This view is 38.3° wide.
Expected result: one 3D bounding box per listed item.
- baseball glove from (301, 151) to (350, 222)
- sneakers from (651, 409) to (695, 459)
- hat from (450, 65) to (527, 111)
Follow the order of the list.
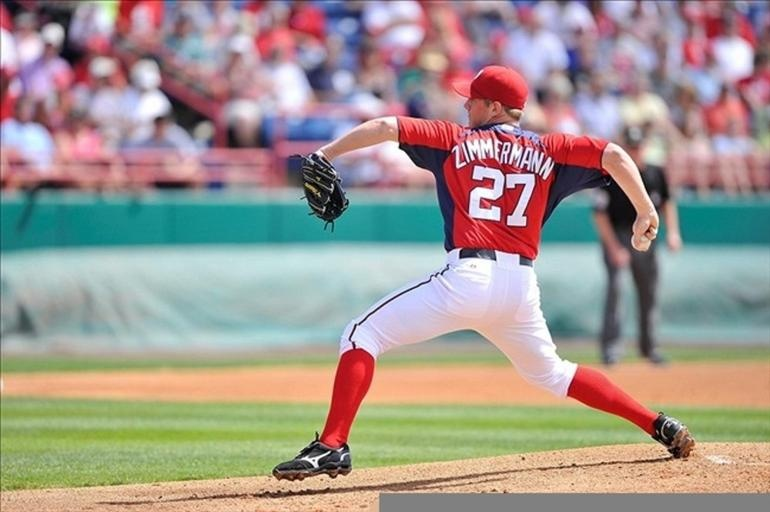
[{"bbox_3d":[-0.521,-0.522,8.431,0.337,0.504,0.177,-28,21,-24],"label":"baseball glove"},{"bbox_3d":[2.209,1.380,8.534,0.374,0.169,0.282,43,12,9],"label":"sneakers"},{"bbox_3d":[0.784,-1.259,8.373,0.513,0.266,0.310,9,22,1],"label":"hat"}]
